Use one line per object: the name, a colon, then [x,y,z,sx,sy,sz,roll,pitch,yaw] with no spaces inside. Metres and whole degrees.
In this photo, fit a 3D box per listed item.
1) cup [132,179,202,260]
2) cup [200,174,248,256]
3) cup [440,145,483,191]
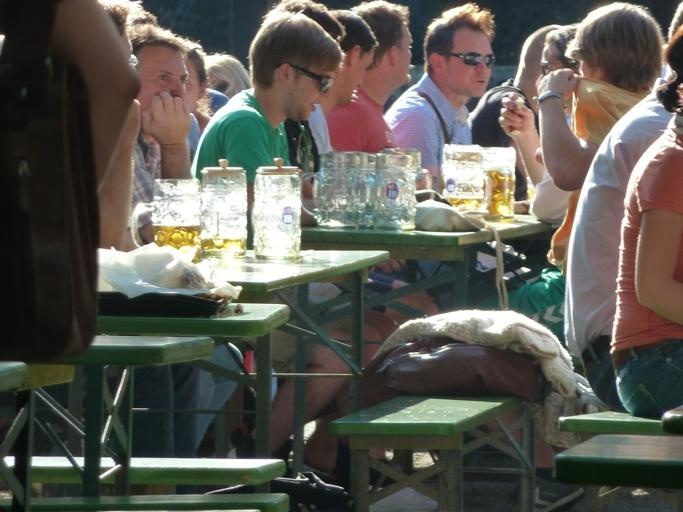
cup: [-0.554,-0.122,3.932,0.162,0.263,0.114,0,0,-16]
cup: [-0.416,-0.154,4.091,0.153,0.308,0.112,0,0,-8]
cup: [0.574,-0.423,5.589,0.222,0.201,0.213,1,0,0]
